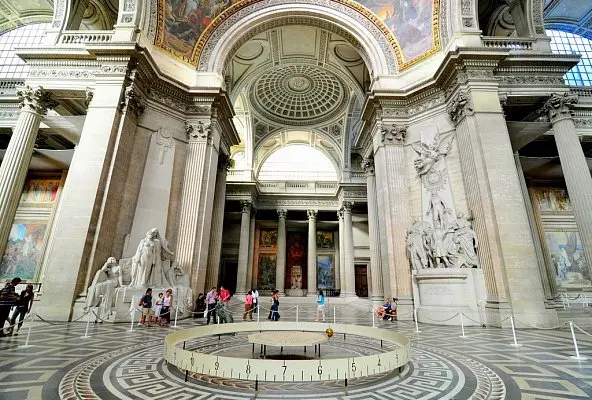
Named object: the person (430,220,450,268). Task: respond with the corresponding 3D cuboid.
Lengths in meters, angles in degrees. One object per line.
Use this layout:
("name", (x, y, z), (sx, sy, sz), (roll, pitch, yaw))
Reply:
("person", (6.311, 2.055, 13.354), (0.672, 1.564, 0.441), (-1, -4, 22))

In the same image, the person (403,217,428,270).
("person", (5.578, 2.039, 14.038), (0.573, 2.081, 1.035), (3, -4, -33))

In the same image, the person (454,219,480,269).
("person", (7.279, 1.726, 13.070), (0.885, 2.086, 0.471), (-1, -4, 26))

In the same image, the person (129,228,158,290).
("person", (-6.156, 2.257, 12.295), (0.905, 2.222, 0.698), (3, -4, -26))

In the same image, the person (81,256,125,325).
("person", (-7.461, 3.527, 11.739), (1.196, 2.893, 1.099), (-17, -47, -2))

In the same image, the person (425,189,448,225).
("person", (6.522, 0.422, 14.215), (0.387, 1.565, 0.783), (3, -4, -32))

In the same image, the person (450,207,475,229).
("person", (7.315, 0.800, 13.408), (0.889, 0.949, 0.298), (-3, -31, 18))
